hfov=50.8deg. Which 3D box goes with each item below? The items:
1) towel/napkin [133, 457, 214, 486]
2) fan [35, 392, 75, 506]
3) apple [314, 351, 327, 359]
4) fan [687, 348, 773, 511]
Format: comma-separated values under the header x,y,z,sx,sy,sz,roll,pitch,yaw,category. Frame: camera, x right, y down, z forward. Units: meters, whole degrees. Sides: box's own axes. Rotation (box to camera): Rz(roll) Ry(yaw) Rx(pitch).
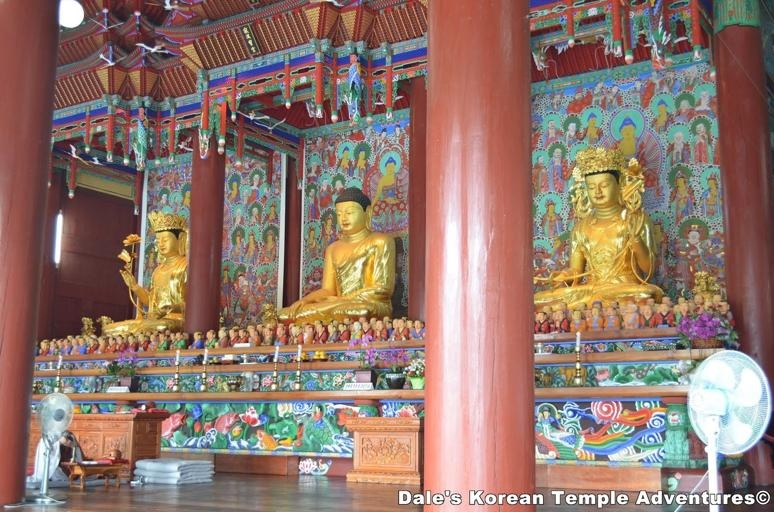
x,y,z,sx,sy,sz,roll,pitch,yaw,category
-1.992,1.981,7.493,0.720,0.259,0.419,2,-17,-13,towel/napkin
-2.770,1.575,6.702,0.247,0.905,0.948,6,-18,-22,fan
-0.717,1.050,8.614,0.089,0.049,0.091,4,-2,-42,apple
1.984,0.986,4.668,0.449,0.904,0.265,-12,-20,31,fan
